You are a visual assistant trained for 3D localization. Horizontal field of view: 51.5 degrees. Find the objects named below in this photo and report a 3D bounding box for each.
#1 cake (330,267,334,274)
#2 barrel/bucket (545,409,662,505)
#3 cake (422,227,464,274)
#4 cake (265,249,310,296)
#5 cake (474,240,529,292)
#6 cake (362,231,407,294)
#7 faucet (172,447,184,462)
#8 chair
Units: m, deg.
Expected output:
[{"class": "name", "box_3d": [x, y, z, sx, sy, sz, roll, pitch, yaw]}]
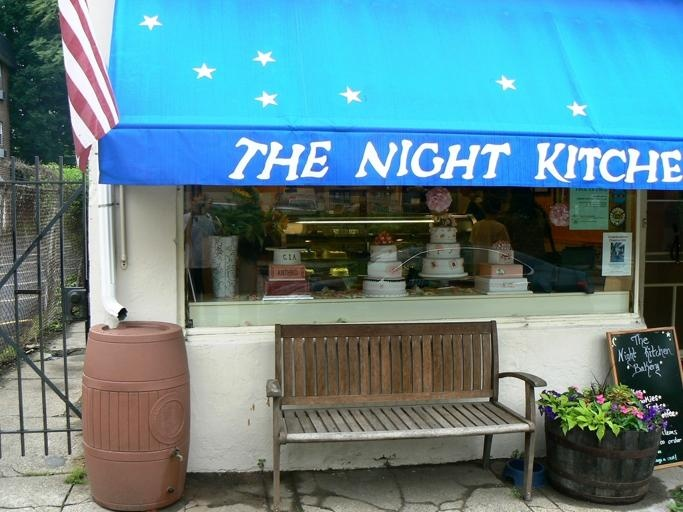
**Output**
[{"class": "cake", "box_3d": [-0.093, 0.129, 6.593, 0.057, 0.052, 0.013, 0, 4, -15]}, {"class": "barrel/bucket", "box_3d": [2.207, 1.655, 5.954, 0.723, 0.510, 0.699, 1, 1, 0]}, {"class": "cake", "box_3d": [0.959, -0.061, 6.995, 0.430, 0.459, 0.451, 2, 4, 22]}, {"class": "cake", "box_3d": [-0.504, 0.128, 6.586, 0.412, 0.401, 0.408, 1, 8, -5]}, {"class": "cake", "box_3d": [1.553, 0.086, 7.004, 0.469, 0.472, 0.466, -1, 4, -6]}, {"class": "cake", "box_3d": [0.405, 0.051, 6.880, 0.527, 0.720, 0.529, 1, 7, 4]}, {"class": "faucet", "box_3d": [-1.318, 1.578, 5.666, 0.080, 0.055, 0.110, 1, 14, -32]}, {"class": "chair", "box_3d": [0.478, 1.297, 6.063, 2.209, 1.406, 0.861, 0, 7, -6]}]
